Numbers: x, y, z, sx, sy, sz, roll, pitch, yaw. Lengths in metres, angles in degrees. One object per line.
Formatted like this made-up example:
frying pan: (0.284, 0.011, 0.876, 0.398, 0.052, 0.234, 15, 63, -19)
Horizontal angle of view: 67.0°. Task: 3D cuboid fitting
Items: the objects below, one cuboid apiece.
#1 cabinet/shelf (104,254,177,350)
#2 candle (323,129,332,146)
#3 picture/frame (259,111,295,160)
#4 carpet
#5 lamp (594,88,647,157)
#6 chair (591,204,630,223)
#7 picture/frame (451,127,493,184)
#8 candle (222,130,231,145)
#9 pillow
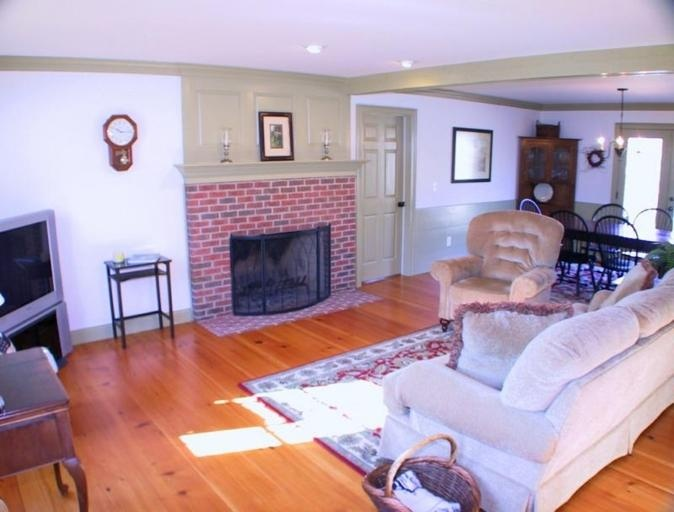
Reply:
cabinet/shelf: (-1.917, 0.448, 4.896, 0.598, 0.931, 0.376, -14, 35, -30)
candle: (-0.115, -1.372, 5.867, 0.082, 0.182, 0.221, 0, 11, 6)
picture/frame: (-0.669, -1.305, 5.479, 0.487, 0.562, 0.058, -9, 14, -39)
carpet: (0.033, 1.066, 3.833, 0.805, 0.014, 1.225, 10, 15, 43)
lamp: (3.977, -1.860, 7.386, 0.401, 0.856, 1.577, 5, 13, 28)
chair: (4.090, -0.631, 7.603, 0.388, 0.505, 0.352, 7, 12, 42)
picture/frame: (1.979, -1.521, 7.585, 0.850, 0.728, 0.063, -10, 15, -42)
candle: (-1.116, -1.208, 5.160, 0.086, 0.166, 0.232, -4, 11, -11)
pillow: (0.893, 0.454, 2.835, 0.513, 0.528, 0.160, 10, -7, 14)
